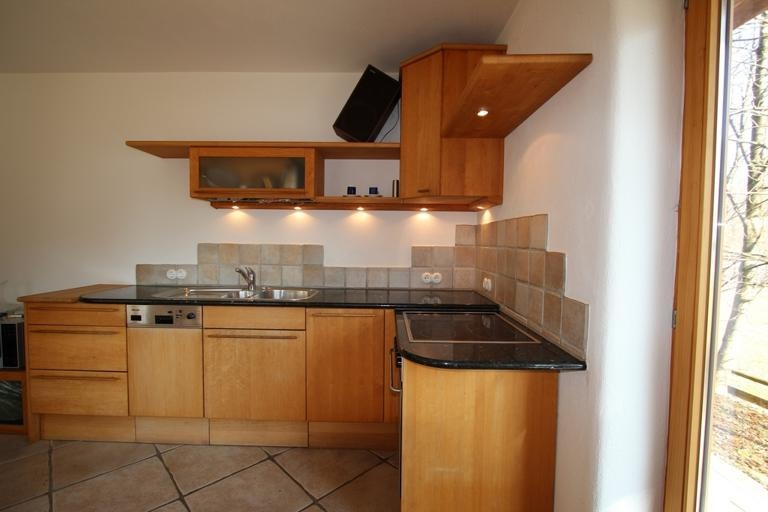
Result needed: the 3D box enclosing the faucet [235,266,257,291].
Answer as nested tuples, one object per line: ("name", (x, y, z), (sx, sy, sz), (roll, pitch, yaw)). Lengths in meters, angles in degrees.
("faucet", (-1.143, 0.186, 5.128), (0.165, 0.195, 0.228), (-2, 3, -14))
